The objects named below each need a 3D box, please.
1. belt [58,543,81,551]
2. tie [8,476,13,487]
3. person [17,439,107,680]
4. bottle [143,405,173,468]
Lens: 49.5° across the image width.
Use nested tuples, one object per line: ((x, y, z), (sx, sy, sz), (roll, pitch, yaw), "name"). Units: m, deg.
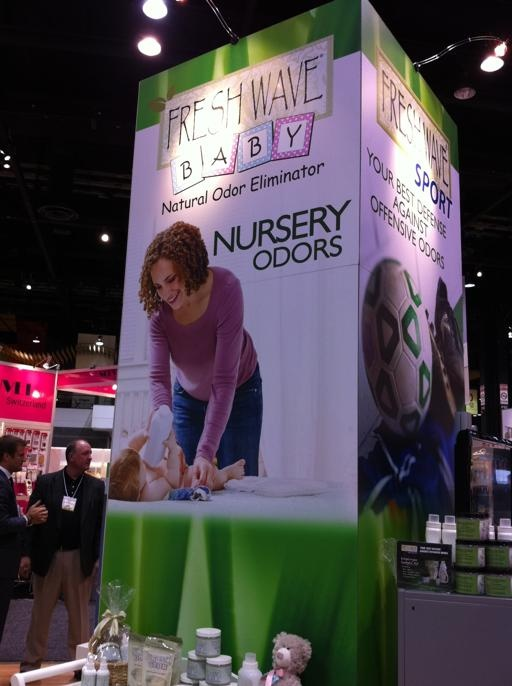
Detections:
((-1.378, 1.535, 4.080), (0.133, 0.061, 0.023), (7, -12, -12), "belt")
((-1.803, 1.043, 4.065), (0.039, 0.080, 0.024), (-1, 4, 11), "tie")
((-1.471, 1.684, 4.198), (0.517, 1.997, 0.416), (4, 12, -21), "person")
((-0.414, 0.449, 2.472), (0.058, 0.309, 0.117), (11, 2, -44), "bottle")
